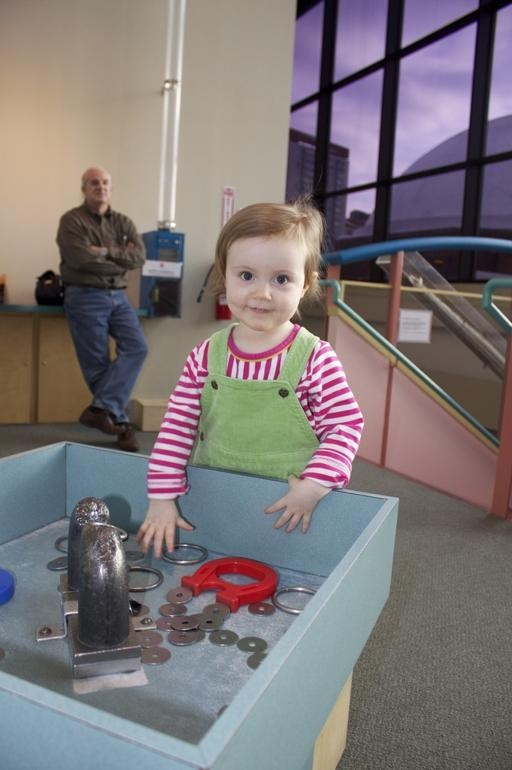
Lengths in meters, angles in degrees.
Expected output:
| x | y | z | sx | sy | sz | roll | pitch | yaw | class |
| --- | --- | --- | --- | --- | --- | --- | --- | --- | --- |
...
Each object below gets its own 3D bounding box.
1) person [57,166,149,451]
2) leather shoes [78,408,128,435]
| x | y | z | sx | sy | sz | roll | pitch | yaw | class |
| --- | --- | --- | --- | --- | --- | --- | --- | --- | --- |
| -0.871 | -0.434 | 3.321 | 0.520 | 1.526 | 0.349 | 3 | 6 | -12 | person |
| -0.876 | 0.211 | 3.399 | 0.200 | 0.090 | 0.066 | 27 | 20 | -10 | leather shoes |
